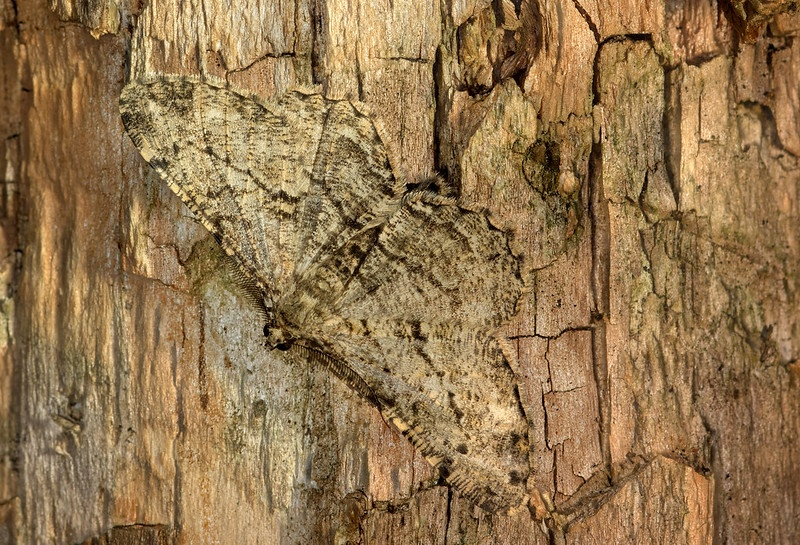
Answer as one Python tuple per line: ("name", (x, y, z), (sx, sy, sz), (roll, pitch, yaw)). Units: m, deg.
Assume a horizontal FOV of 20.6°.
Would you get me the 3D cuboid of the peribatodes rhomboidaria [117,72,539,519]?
("peribatodes rhomboidaria", (-0.439, -0.126, 6.762), (0.139, 1.363, 0.695), (10, 54, -48))
